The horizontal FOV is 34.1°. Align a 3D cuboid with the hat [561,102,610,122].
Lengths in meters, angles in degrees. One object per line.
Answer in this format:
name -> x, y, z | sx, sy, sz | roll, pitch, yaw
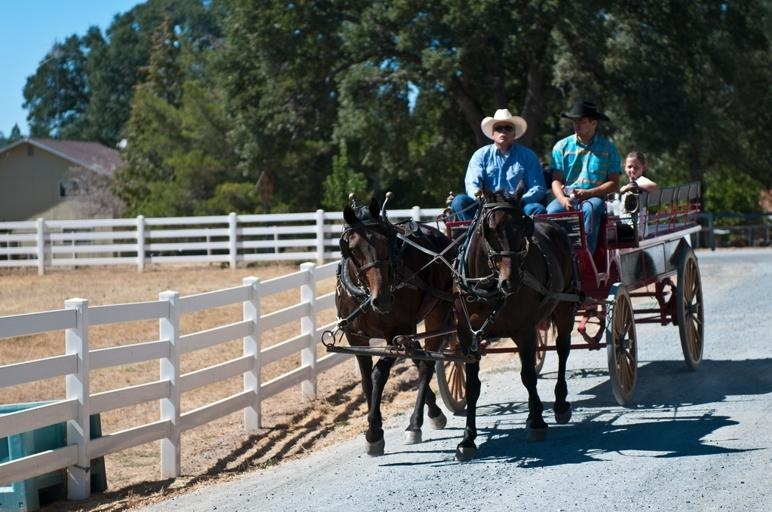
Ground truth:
hat -> 5.082, -3.632, 32.405 | 0.921, 0.454, 1.157 | 2, -1, 2
